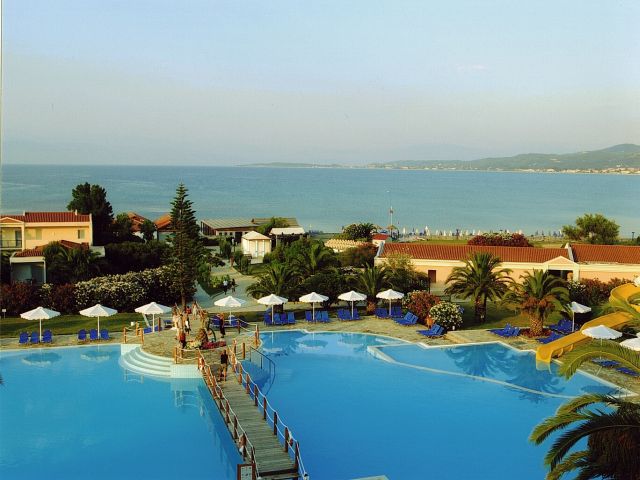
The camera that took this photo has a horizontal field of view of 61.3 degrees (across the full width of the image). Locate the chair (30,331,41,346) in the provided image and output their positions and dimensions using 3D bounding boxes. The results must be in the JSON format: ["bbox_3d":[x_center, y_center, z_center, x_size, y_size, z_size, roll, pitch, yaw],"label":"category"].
[{"bbox_3d":[-13.665,4.591,25.704,0.528,0.674,0.518,4,-7,-44],"label":"chair"}]

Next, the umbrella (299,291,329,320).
[{"bbox_3d":[-0.346,3.616,30.621,1.604,1.409,1.571,-1,14,-4],"label":"umbrella"}]

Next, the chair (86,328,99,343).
[{"bbox_3d":[-11.152,4.601,26.413,0.542,0.772,0.526,-8,12,-39],"label":"chair"}]

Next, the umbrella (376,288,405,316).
[{"bbox_3d":[4.139,3.437,31.120,1.551,1.440,1.502,-5,15,-18],"label":"umbrella"}]

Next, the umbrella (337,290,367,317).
[{"bbox_3d":[1.849,3.280,30.861,1.556,1.408,1.509,-6,15,-25],"label":"umbrella"}]

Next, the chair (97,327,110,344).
[{"bbox_3d":[-10.578,4.562,26.403,0.545,0.714,0.532,-1,-3,-4],"label":"chair"}]

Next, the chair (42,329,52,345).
[{"bbox_3d":[-13.162,4.601,25.876,0.556,0.680,0.377,1,-4,-39],"label":"chair"}]

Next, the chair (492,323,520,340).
[{"bbox_3d":[9.616,4.567,27.354,0.935,0.352,0.722,2,5,-35],"label":"chair"}]

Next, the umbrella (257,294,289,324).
[{"bbox_3d":[-2.577,3.635,29.637,1.639,1.498,1.616,-1,13,-4],"label":"umbrella"}]

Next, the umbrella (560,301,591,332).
[{"bbox_3d":[13.045,3.741,27.123,1.586,1.510,1.581,1,14,7],"label":"umbrella"}]

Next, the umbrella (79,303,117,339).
[{"bbox_3d":[-11.266,4.129,26.832,2.064,1.744,2.001,1,1,-18],"label":"umbrella"}]
